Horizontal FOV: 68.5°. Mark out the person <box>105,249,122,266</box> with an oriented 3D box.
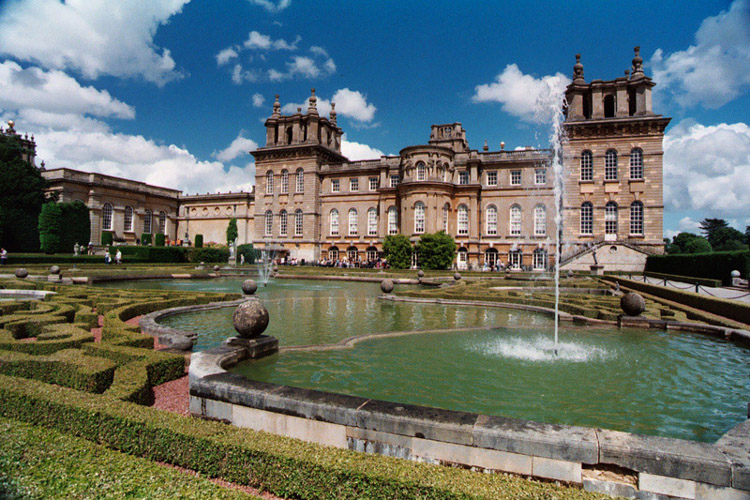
[{"bbox_3d":[-19.738,0.560,41.468,1.152,1.021,0.418,-1,-5,-16],"label":"person"}]
